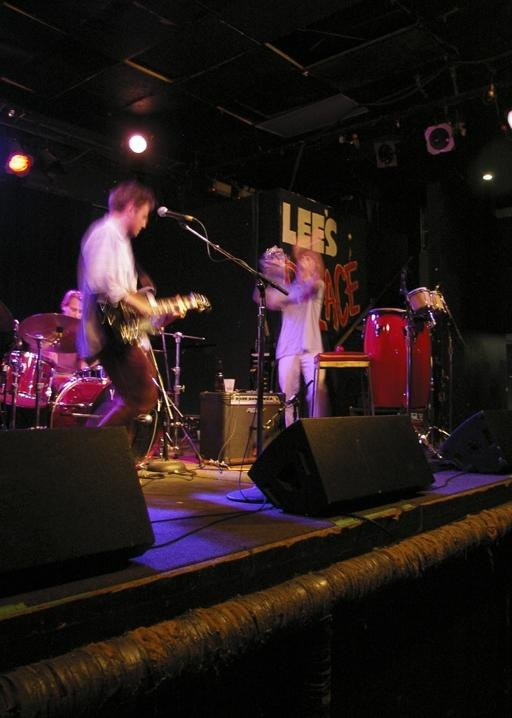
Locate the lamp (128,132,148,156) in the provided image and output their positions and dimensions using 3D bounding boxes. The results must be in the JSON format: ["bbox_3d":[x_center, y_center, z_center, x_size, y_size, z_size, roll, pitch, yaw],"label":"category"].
[{"bbox_3d":[-1.216,-2.218,6.200,0.169,0.135,0.227,2,-1,-12],"label":"lamp"}]

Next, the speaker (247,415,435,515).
[{"bbox_3d":[0.340,0.401,2.383,0.658,0.363,0.476,3,-1,-40],"label":"speaker"}]

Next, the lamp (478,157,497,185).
[{"bbox_3d":[2.928,-2.360,7.729,0.210,0.061,1.009,1,-1,20],"label":"lamp"}]

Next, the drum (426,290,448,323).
[{"bbox_3d":[1.558,-0.478,5.243,0.153,0.308,0.561,1,-1,17],"label":"drum"}]

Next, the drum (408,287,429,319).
[{"bbox_3d":[1.361,-0.479,5.125,0.186,0.223,0.285,1,-1,14],"label":"drum"}]

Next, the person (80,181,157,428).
[{"bbox_3d":[-0.736,-0.319,3.284,0.397,0.867,0.369,2,-1,-18],"label":"person"}]

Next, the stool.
[{"bbox_3d":[0.723,0.134,5.111,0.599,0.720,0.596,0,-20,2],"label":"stool"}]

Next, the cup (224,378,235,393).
[{"bbox_3d":[-0.207,0.220,4.992,0.097,0.106,0.095,2,3,0],"label":"cup"}]

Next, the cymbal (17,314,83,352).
[{"bbox_3d":[-1.779,-0.221,5.244,0.429,0.244,0.754,2,-1,-4],"label":"cymbal"}]
